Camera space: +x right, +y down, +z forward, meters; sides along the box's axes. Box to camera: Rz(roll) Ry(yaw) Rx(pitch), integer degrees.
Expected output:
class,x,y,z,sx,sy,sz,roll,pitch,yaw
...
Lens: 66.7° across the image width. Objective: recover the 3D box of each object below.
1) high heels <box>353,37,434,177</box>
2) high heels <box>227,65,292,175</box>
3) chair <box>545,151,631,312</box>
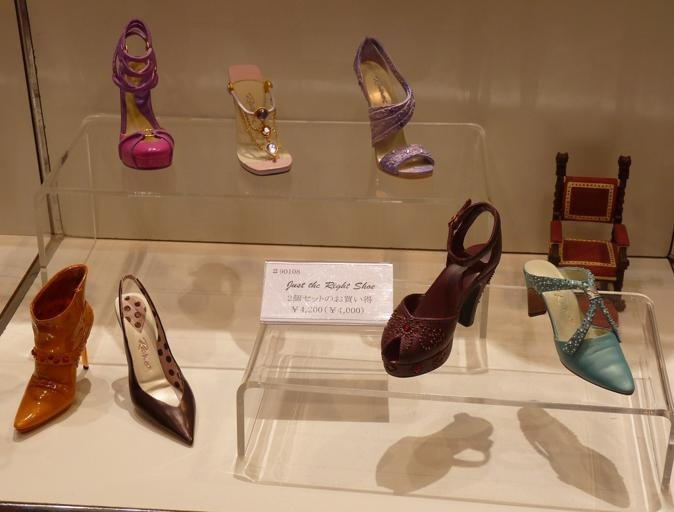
class,x,y,z,sx,sy,sz,roll,pitch,yaw
high heels,0.186,-0.538,1.830,0.180,0.132,0.597,-11,62,-9
high heels,-0.285,-0.507,1.894,0.173,0.153,0.533,-8,57,-8
chair,1.024,-0.091,2.089,0.355,0.556,0.355,0,27,11
